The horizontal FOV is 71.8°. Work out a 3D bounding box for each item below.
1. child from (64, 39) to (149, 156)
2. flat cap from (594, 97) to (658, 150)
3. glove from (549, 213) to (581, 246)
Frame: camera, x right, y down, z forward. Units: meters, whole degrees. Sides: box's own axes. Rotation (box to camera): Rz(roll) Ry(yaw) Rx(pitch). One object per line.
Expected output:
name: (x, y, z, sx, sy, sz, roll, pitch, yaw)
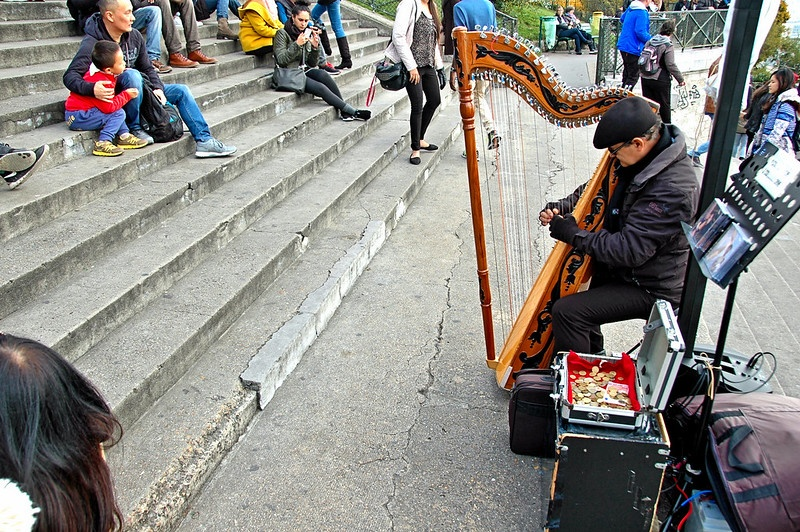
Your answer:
child: (-2.643, -1.477, 4.990, 0.856, 1.061, 0.552, -12, 49, -29)
flat cap: (1.344, -0.870, 3.399, 0.351, 0.194, 0.246, -22, 31, -1)
glove: (1.052, -0.243, 3.624, 0.154, 0.084, 0.198, 26, 3, -31)
